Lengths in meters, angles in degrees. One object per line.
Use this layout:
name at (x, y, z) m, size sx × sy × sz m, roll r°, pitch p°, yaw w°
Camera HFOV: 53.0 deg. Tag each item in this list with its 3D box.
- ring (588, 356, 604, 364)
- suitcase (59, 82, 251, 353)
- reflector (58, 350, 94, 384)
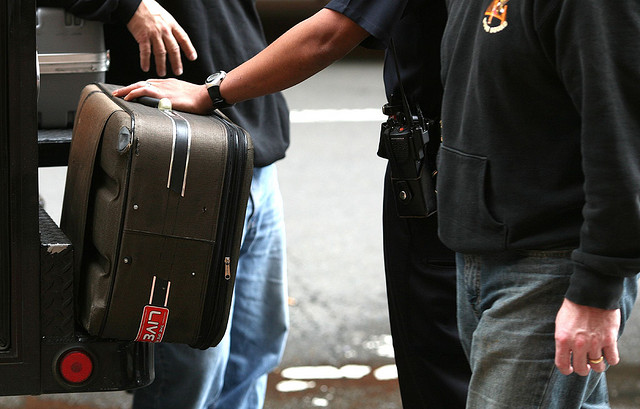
ring at (0.745, 0.413, 1.717) m, size 0.026 × 0.006 × 0.024 m, roll -2°, pitch 4°, yaw 0°
suitcase at (-0.625, -0.001, 2.319) m, size 0.531 × 0.760 × 0.862 m, roll 7°, pitch 12°, yaw -25°
reflector at (-0.764, 0.503, 1.987) m, size 0.101 × 0.106 × 0.013 m, roll 0°, pitch 1°, yaw -18°
